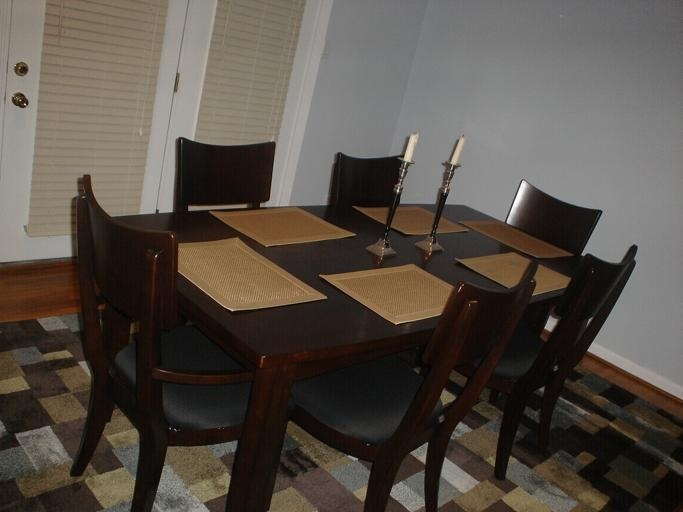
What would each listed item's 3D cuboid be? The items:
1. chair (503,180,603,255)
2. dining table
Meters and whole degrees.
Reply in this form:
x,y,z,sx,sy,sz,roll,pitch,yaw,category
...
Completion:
x,y,z,sx,sy,sz,roll,pitch,yaw,category
1.236,-0.216,2.668,0.284,0.504,0.332,37,12,13,chair
-0.127,0.419,1.649,1.310,0.696,1.000,-9,29,-33,dining table
